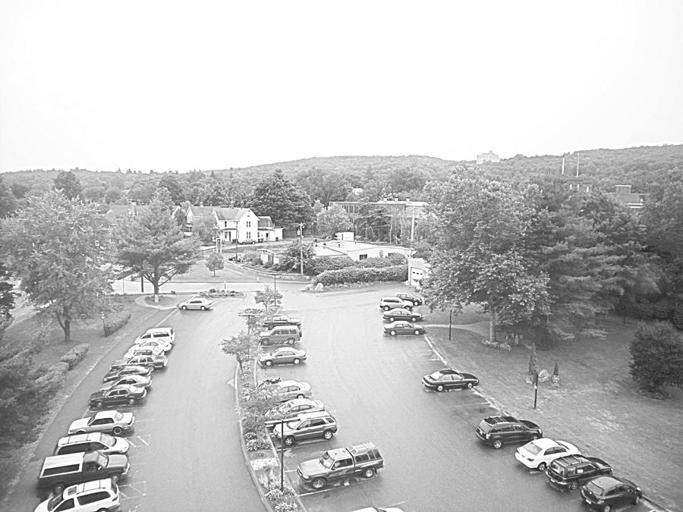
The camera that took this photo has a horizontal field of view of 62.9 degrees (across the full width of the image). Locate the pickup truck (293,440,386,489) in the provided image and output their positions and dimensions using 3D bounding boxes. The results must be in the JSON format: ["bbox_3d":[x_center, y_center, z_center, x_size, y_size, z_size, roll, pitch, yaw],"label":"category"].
[{"bbox_3d":[-0.034,14.570,38.627,5.555,2.143,1.377,-3,12,-16],"label":"pickup truck"}]
